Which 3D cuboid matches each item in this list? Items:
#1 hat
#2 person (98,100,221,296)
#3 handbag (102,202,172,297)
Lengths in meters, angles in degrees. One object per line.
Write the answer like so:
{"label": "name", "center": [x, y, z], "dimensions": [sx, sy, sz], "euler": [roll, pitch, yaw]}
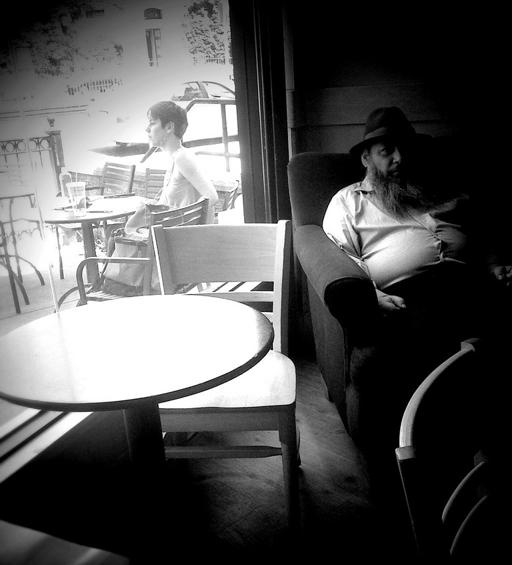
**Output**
{"label": "hat", "center": [0.497, -0.586, 1.867], "dimensions": [0.280, 0.119, 0.260], "euler": [-6, 9, 43]}
{"label": "person", "center": [-0.533, -0.385, 2.569], "dimensions": [0.651, 1.083, 0.536], "euler": [-2, -11, 3]}
{"label": "handbag", "center": [-0.565, -0.144, 2.379], "dimensions": [0.258, 0.385, 0.245], "euler": [-1, 4, 33]}
